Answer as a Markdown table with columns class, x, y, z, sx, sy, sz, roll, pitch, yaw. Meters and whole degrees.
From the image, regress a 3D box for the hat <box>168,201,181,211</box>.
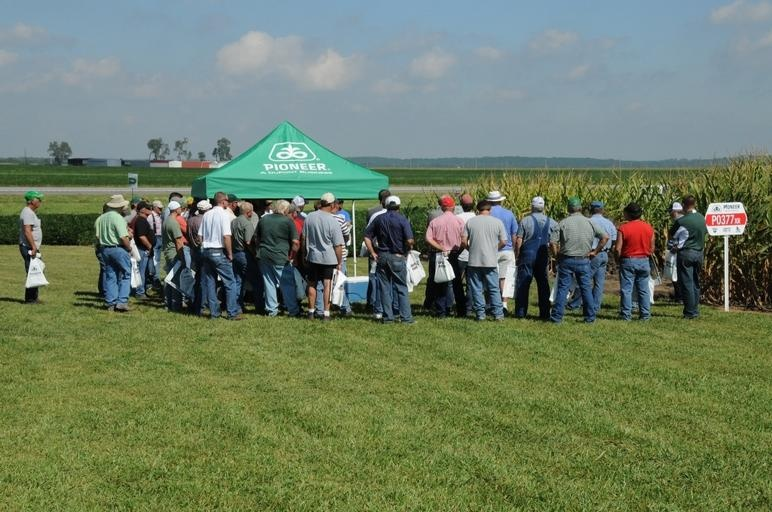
| class | x | y | z | sx | sy | sz | roll | pitch | yaw |
| --- | --- | --- | --- | --- | --- | --- | --- | --- | --- |
| hat | -4.233 | -1.018 | 18.639 | 0.225 | 0.182 | 0.349 | 4 | 11 | 2 |

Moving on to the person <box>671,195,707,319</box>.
| class | x | y | z | sx | sy | sz | roll | pitch | yaw |
| --- | --- | --- | --- | --- | --- | --- | --- | --- | --- |
| person | 5.861 | 0.034 | 18.025 | 0.631 | 2.330 | 0.452 | 3 | 8 | 19 |

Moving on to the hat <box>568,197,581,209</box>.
| class | x | y | z | sx | sy | sz | roll | pitch | yaw |
| --- | --- | --- | --- | --- | --- | --- | --- | --- | --- |
| hat | 3.578 | -1.008 | 17.497 | 0.172 | 0.207 | 0.255 | 0 | -8 | 27 |

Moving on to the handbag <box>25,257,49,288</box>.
| class | x | y | z | sx | sy | sz | roll | pitch | yaw |
| --- | --- | --- | --- | --- | --- | --- | --- | --- | --- |
| handbag | -7.073 | 0.364 | 18.853 | 0.577 | 0.718 | 0.466 | -1 | 14 | -18 |

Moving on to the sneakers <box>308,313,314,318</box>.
| class | x | y | z | sx | sy | sz | roll | pitch | yaw |
| --- | --- | --- | --- | --- | --- | --- | --- | --- | --- |
| sneakers | -1.372 | 1.133 | 17.487 | 0.099 | 0.163 | 0.095 | -2 | -5 | 9 |

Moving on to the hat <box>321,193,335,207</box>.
| class | x | y | z | sx | sy | sz | roll | pitch | yaw |
| --- | --- | --- | --- | --- | --- | --- | --- | --- | --- |
| hat | -1.054 | -1.055 | 17.114 | 0.249 | 0.208 | 0.383 | -1 | 8 | -7 |

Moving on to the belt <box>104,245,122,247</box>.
| class | x | y | z | sx | sy | sz | roll | pitch | yaw |
| --- | --- | --- | --- | --- | --- | --- | --- | --- | --- |
| belt | -5.229 | -0.192 | 17.852 | 0.273 | 0.063 | 0.057 | -1 | 8 | -10 |

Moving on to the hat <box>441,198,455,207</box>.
| class | x | y | z | sx | sy | sz | roll | pitch | yaw |
| --- | --- | --- | --- | --- | --- | --- | --- | --- | --- |
| hat | 1.194 | -1.028 | 17.705 | 0.243 | 0.209 | 0.444 | 0 | 8 | -1 |

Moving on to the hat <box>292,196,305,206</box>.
| class | x | y | z | sx | sy | sz | roll | pitch | yaw |
| --- | --- | --- | --- | --- | --- | --- | --- | --- | --- |
| hat | -1.686 | -1.080 | 18.154 | 0.199 | 0.201 | 0.222 | -1 | -7 | -3 |

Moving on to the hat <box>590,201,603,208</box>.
| class | x | y | z | sx | sy | sz | roll | pitch | yaw |
| --- | --- | --- | --- | --- | --- | --- | --- | --- | --- |
| hat | 4.140 | -1.006 | 18.188 | 0.230 | 0.112 | 0.330 | 1 | -1 | 6 |

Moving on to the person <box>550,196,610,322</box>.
| class | x | y | z | sx | sy | sz | roll | pitch | yaw |
| --- | --- | --- | --- | --- | --- | --- | --- | --- | --- |
| person | 3.679 | 0.050 | 17.614 | 1.012 | 2.346 | 0.803 | 0 | 14 | 11 |

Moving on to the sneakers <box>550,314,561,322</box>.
| class | x | y | z | sx | sy | sz | roll | pitch | yaw |
| --- | --- | --- | --- | --- | --- | --- | --- | --- | --- |
| sneakers | 3.213 | 1.182 | 17.498 | 0.160 | 0.122 | 0.144 | -3 | -2 | 21 |

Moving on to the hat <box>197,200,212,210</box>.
| class | x | y | z | sx | sy | sz | roll | pitch | yaw |
| --- | --- | --- | --- | --- | --- | --- | --- | --- | --- |
| hat | -3.456 | -0.970 | 17.788 | 0.207 | 0.113 | 0.286 | -3 | 8 | -15 |

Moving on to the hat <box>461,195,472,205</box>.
| class | x | y | z | sx | sy | sz | roll | pitch | yaw |
| --- | --- | --- | --- | --- | --- | --- | --- | --- | --- |
| hat | 1.577 | -1.088 | 17.841 | 0.192 | 0.162 | 0.200 | -3 | -4 | -11 |

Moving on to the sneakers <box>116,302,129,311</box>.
| class | x | y | z | sx | sy | sz | roll | pitch | yaw |
| --- | --- | --- | --- | --- | --- | --- | --- | --- | --- |
| sneakers | -5.127 | 1.008 | 18.257 | 0.257 | 0.195 | 0.124 | -1 | 6 | -5 |

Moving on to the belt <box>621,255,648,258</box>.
| class | x | y | z | sx | sy | sz | roll | pitch | yaw |
| --- | --- | --- | --- | --- | --- | --- | --- | --- | --- |
| belt | 4.730 | 0.030 | 17.564 | 0.459 | 0.046 | 0.063 | 0 | 8 | -2 |

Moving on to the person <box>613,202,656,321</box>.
| class | x | y | z | sx | sy | sz | roll | pitch | yaw |
| --- | --- | --- | --- | --- | --- | --- | --- | --- | --- |
| person | 4.745 | 0.119 | 17.684 | 0.753 | 2.222 | 0.472 | 0 | 7 | 2 |

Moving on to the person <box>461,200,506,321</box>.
| class | x | y | z | sx | sy | sz | roll | pitch | yaw |
| --- | --- | --- | --- | --- | --- | --- | --- | --- | --- |
| person | 1.880 | 0.241 | 17.446 | 0.764 | 1.984 | 0.398 | 1 | 7 | 4 |

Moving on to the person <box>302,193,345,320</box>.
| class | x | y | z | sx | sy | sz | roll | pitch | yaw |
| --- | --- | --- | --- | --- | --- | --- | --- | --- | --- |
| person | -1.167 | 0.033 | 17.210 | 0.652 | 2.383 | 0.880 | -4 | 8 | -30 |

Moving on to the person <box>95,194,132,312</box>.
| class | x | y | z | sx | sy | sz | roll | pitch | yaw |
| --- | --- | --- | --- | --- | --- | --- | --- | --- | --- |
| person | -5.288 | -0.034 | 18.163 | 0.670 | 2.242 | 0.883 | -2 | 8 | -18 |

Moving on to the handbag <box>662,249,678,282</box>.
| class | x | y | z | sx | sy | sz | roll | pitch | yaw |
| --- | --- | --- | --- | --- | --- | --- | --- | --- | --- |
| handbag | 5.755 | 0.195 | 18.756 | 0.158 | 0.768 | 0.663 | -1 | 5 | -7 |

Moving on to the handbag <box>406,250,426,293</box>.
| class | x | y | z | sx | sy | sz | roll | pitch | yaw |
| --- | --- | --- | --- | --- | --- | --- | --- | --- | --- |
| handbag | 0.616 | 0.352 | 18.706 | 0.385 | 0.886 | 0.883 | 2 | 5 | 23 |

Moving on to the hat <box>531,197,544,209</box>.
| class | x | y | z | sx | sy | sz | roll | pitch | yaw |
| --- | --- | --- | --- | --- | --- | --- | --- | --- | --- |
| hat | 2.959 | -1.033 | 17.950 | 0.204 | 0.173 | 0.286 | 2 | 15 | -1 |

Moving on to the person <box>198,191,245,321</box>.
| class | x | y | z | sx | sy | sz | roll | pitch | yaw |
| --- | --- | --- | --- | --- | --- | --- | --- | --- | --- |
| person | -3.097 | 0.009 | 17.449 | 0.761 | 2.363 | 0.588 | 2 | 8 | 18 |

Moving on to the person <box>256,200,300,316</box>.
| class | x | y | z | sx | sy | sz | roll | pitch | yaw |
| --- | --- | --- | --- | --- | --- | --- | --- | --- | --- |
| person | -2.030 | 0.063 | 17.518 | 0.798 | 2.223 | 0.506 | -1 | 7 | -10 |

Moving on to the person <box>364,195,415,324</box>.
| class | x | y | z | sx | sy | sz | roll | pitch | yaw |
| --- | --- | --- | --- | --- | --- | --- | --- | --- | --- |
| person | 0.087 | 0.084 | 17.254 | 0.860 | 2.338 | 0.373 | 0 | 7 | -2 |

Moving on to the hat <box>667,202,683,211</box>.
| class | x | y | z | sx | sy | sz | roll | pitch | yaw |
| --- | --- | --- | --- | --- | --- | --- | --- | --- | --- |
| hat | 5.838 | -0.986 | 18.585 | 0.199 | 0.116 | 0.148 | 8 | 11 | 25 |

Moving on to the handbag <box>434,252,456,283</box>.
| class | x | y | z | sx | sy | sz | roll | pitch | yaw |
| --- | --- | --- | --- | --- | --- | --- | --- | --- | --- |
| handbag | 1.101 | 0.220 | 17.384 | 0.496 | 0.562 | 0.241 | -5 | -5 | 36 |

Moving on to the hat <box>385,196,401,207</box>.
| class | x | y | z | sx | sy | sz | roll | pitch | yaw |
| --- | --- | --- | --- | --- | --- | --- | --- | --- | --- |
| hat | 0.147 | -1.017 | 17.237 | 0.264 | 0.226 | 0.447 | 5 | 5 | 2 |

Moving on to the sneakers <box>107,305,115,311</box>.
| class | x | y | z | sx | sy | sz | roll | pitch | yaw |
| --- | --- | --- | --- | --- | --- | --- | --- | --- | --- |
| sneakers | -5.353 | 1.025 | 18.196 | 0.114 | 0.117 | 0.105 | -4 | -14 | 13 |

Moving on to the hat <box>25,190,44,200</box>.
| class | x | y | z | sx | sy | sz | roll | pitch | yaw |
| --- | --- | --- | --- | --- | --- | --- | --- | --- | --- |
| hat | -6.965 | -1.194 | 18.427 | 0.298 | 0.207 | 0.721 | -3 | 9 | -21 |
